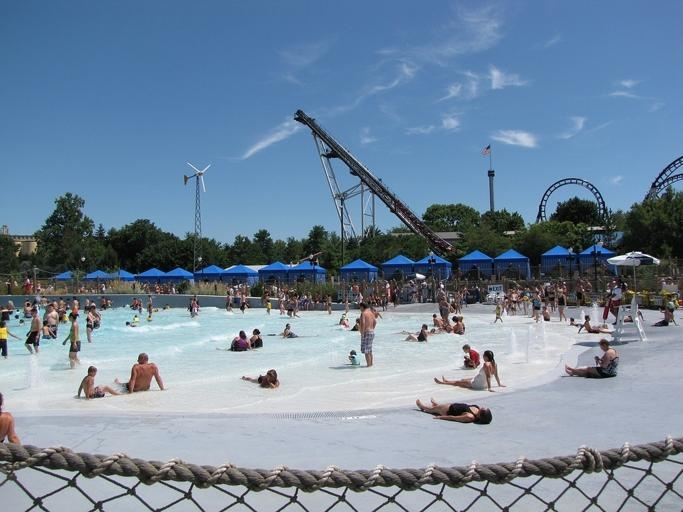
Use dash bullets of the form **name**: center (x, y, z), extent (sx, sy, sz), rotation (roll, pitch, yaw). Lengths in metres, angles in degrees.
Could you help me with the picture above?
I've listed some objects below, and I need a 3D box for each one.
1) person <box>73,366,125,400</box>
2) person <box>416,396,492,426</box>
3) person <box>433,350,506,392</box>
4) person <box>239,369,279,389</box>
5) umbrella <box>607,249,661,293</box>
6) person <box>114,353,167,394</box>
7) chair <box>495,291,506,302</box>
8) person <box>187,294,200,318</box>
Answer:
- **person**: center (-5.427, 2.889, 14.312), extent (0.430, 0.684, 0.982), rotation (-1, -4, 42)
- **person**: center (2.093, 2.875, 11.521), extent (0.781, 0.184, 0.513), rotation (-2, -24, 45)
- **person**: center (2.980, 2.554, 14.445), extent (1.329, 0.817, 1.811), rotation (0, -6, -40)
- **person**: center (-1.848, 3.055, 15.531), extent (0.512, 0.340, 0.828), rotation (6, -7, -36)
- **umbrella**: center (14.959, 0.912, 32.515), extent (2.412, 2.271, 2.433), rotation (1, 2, 23)
- **person**: center (-4.886, 2.865, 15.364), extent (0.845, 1.002, 1.744), rotation (1, -4, -31)
- **chair**: center (9.664, 2.564, 38.590), extent (0.503, 0.380, 0.779), rotation (-4, -9, 21)
- **person**: center (-9.416, 3.256, 40.237), extent (0.851, 1.567, 0.544), rotation (2, 16, -17)
